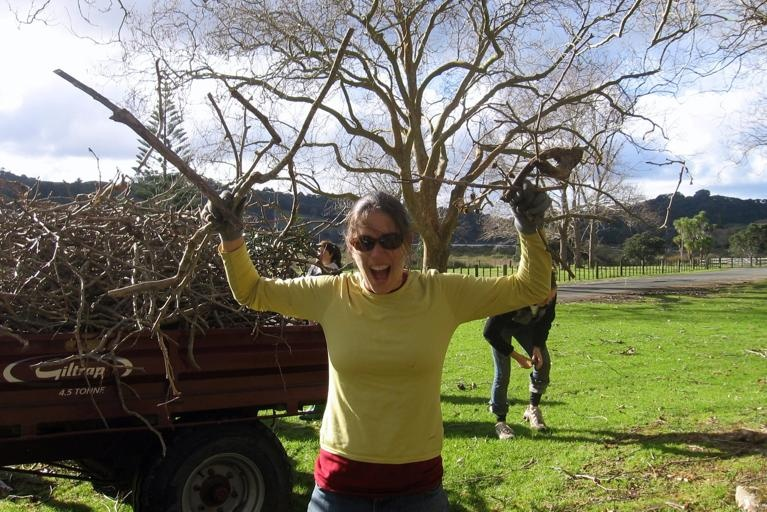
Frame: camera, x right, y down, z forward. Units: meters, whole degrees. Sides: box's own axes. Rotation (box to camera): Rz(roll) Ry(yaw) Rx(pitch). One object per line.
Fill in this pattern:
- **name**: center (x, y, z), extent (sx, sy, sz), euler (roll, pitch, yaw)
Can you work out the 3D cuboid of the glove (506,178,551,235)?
- **glove**: center (1.017, -0.332, 3.941), extent (0.269, 0.360, 0.167), euler (-2, 1, 15)
